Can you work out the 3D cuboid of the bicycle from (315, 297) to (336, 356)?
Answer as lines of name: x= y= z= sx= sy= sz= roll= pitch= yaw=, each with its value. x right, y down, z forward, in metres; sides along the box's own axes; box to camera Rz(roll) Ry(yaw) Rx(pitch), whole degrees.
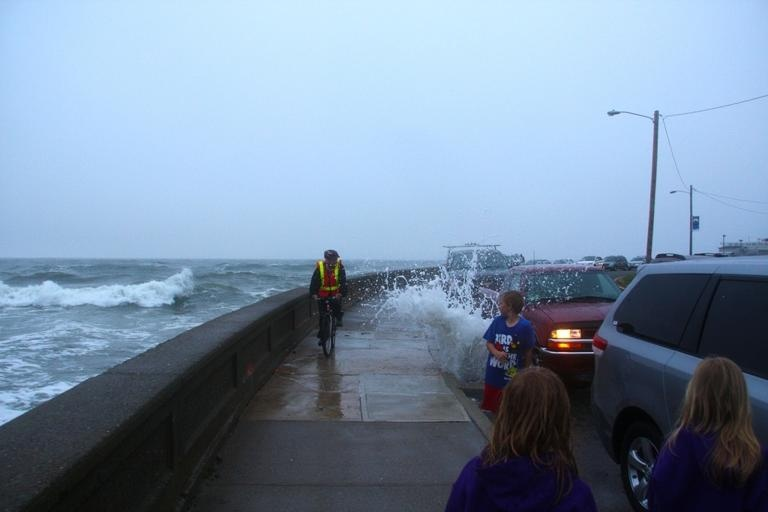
bicycle: x=-1.067 y=1.319 z=9.798 sx=0.306 sy=1.091 sz=0.811 roll=3 pitch=3 yaw=-6
